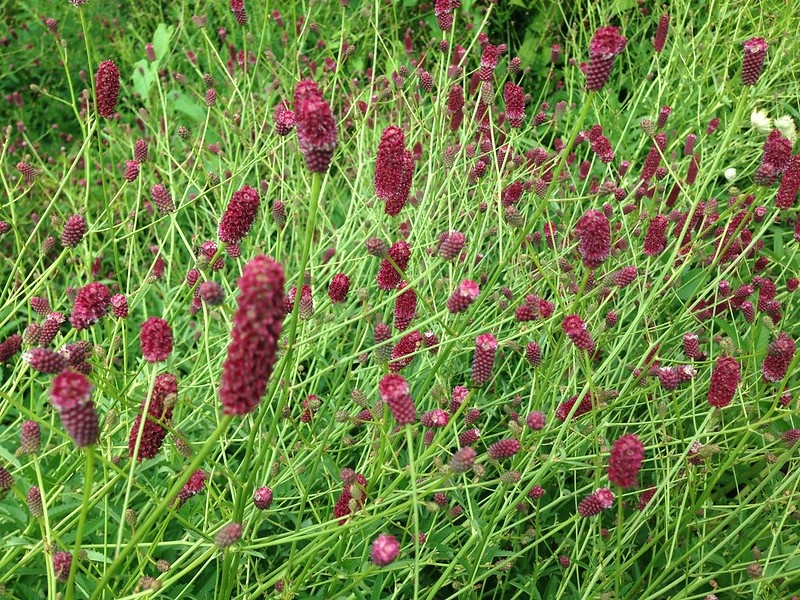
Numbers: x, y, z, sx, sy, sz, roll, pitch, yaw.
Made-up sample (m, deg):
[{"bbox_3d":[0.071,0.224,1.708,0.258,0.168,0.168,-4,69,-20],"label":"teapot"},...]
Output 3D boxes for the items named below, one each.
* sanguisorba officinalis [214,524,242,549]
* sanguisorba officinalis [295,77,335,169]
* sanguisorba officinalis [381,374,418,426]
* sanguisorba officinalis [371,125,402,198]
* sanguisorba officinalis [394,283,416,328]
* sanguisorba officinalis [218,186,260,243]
[{"bbox_3d":[-0.664,0.927,2.883,0.071,0.112,0.049,-37,95,-38],"label":"sanguisorba officinalis"},{"bbox_3d":[-0.327,-0.665,2.934,0.130,0.396,0.129,-11,15,-16],"label":"sanguisorba officinalis"},{"bbox_3d":[0.024,0.417,3.010,0.096,0.222,0.114,-36,25,-17],"label":"sanguisorba officinalis"},{"bbox_3d":[-0.052,-0.656,3.532,0.144,0.396,0.141,5,43,10],"label":"sanguisorba officinalis"},{"bbox_3d":[0.022,0.024,3.699,0.097,0.278,0.104,4,25,4],"label":"sanguisorba officinalis"},{"bbox_3d":[-0.715,-0.380,3.371,0.119,0.313,0.132,20,21,-29],"label":"sanguisorba officinalis"}]
